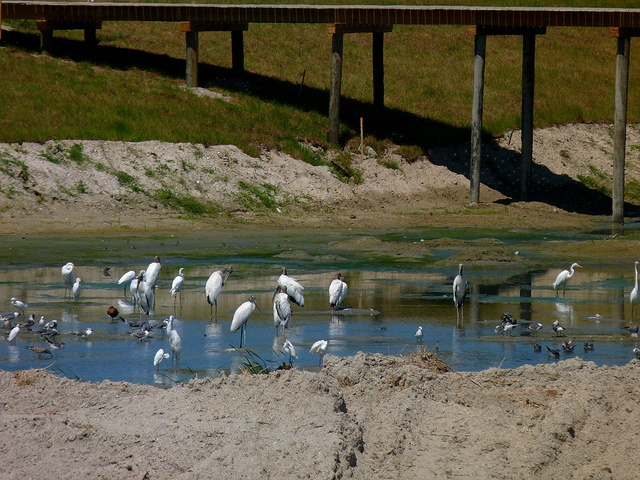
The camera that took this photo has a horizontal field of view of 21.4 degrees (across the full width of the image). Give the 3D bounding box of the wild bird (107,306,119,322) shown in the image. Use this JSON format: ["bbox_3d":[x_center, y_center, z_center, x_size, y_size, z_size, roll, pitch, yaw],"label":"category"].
[{"bbox_3d":[-8.785,2.942,70.837,0.391,0.564,0.526,-16,-29,18],"label":"wild bird"}]

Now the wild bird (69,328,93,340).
[{"bbox_3d":[-9.755,3.627,68.740,0.933,0.630,0.347,11,-5,5],"label":"wild bird"}]

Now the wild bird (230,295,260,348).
[{"bbox_3d":[-3.073,3.051,68.365,0.816,2.110,0.998,4,8,33],"label":"wild bird"}]

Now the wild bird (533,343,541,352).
[{"bbox_3d":[8.787,4.175,67.976,0.234,0.343,0.126,9,-8,-23],"label":"wild bird"}]

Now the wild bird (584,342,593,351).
[{"bbox_3d":[10.924,4.153,68.058,0.380,0.371,0.584,-2,-2,9],"label":"wild bird"}]

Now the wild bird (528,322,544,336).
[{"bbox_3d":[8.943,3.462,69.563,0.587,0.523,0.286,3,4,5],"label":"wild bird"}]

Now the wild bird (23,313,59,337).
[{"bbox_3d":[-11.227,3.398,68.774,1.883,1.002,0.617,1,0,38],"label":"wild bird"}]

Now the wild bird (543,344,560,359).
[{"bbox_3d":[9.426,4.348,67.733,0.492,0.496,0.669,-2,-2,7],"label":"wild bird"}]

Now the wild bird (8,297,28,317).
[{"bbox_3d":[-12.684,2.498,70.576,0.855,0.918,0.423,13,22,39],"label":"wild bird"}]

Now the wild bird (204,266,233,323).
[{"bbox_3d":[-4.428,1.823,70.944,1.008,2.272,0.917,-8,11,-25],"label":"wild bird"}]

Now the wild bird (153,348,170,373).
[{"bbox_3d":[-6.301,4.546,66.585,0.631,0.778,1.081,-2,-2,-6],"label":"wild bird"}]

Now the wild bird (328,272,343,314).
[{"bbox_3d":[0.676,1.991,71.378,0.564,1.503,1.591,-2,-2,0],"label":"wild bird"}]

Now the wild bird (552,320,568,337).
[{"bbox_3d":[9.877,3.446,69.467,0.298,0.536,0.637,-5,-18,22],"label":"wild bird"}]

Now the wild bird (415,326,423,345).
[{"bbox_3d":[4.084,3.685,68.782,0.365,0.639,1.057,-2,-2,3],"label":"wild bird"}]

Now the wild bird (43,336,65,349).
[{"bbox_3d":[-10.751,3.969,68.059,0.722,0.508,1.039,-2,-2,-10],"label":"wild bird"}]
